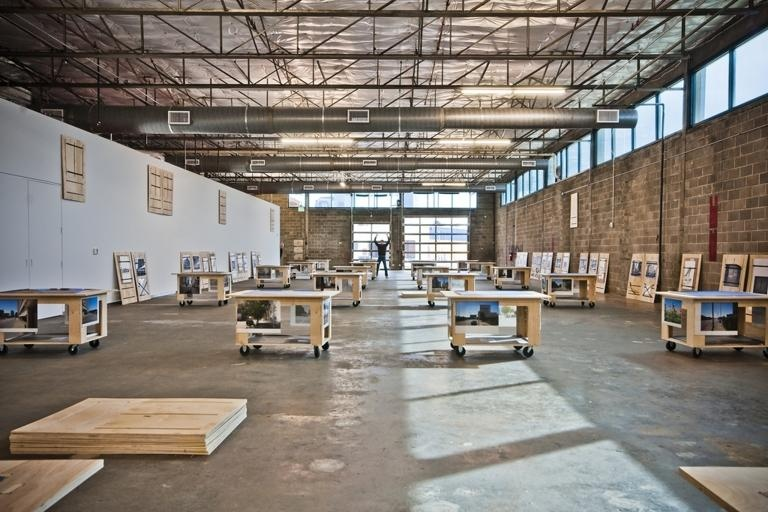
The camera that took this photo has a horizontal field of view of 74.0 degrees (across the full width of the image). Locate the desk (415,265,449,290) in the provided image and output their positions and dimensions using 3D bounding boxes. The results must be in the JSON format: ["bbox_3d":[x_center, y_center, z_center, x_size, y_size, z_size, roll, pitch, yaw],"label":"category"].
[{"bbox_3d":[1.663,0.705,19.731,1.367,0.589,0.967,0,-3,-5],"label":"desk"}]

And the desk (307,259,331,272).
[{"bbox_3d":[-3.538,0.433,28.129,1.342,0.687,1.231,0,-3,-1],"label":"desk"}]

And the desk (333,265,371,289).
[{"bbox_3d":[-1.221,0.756,20.607,1.339,0.689,1.244,0,-4,9],"label":"desk"}]

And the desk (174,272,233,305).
[{"bbox_3d":[-5.377,0.922,15.042,1.912,0.977,1.755,0,1,-2],"label":"desk"}]

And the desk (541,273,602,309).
[{"bbox_3d":[5.518,0.932,14.931,1.826,0.943,1.680,1,-2,-1],"label":"desk"}]

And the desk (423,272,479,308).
[{"bbox_3d":[1.817,0.825,14.751,1.470,0.764,1.359,0,-3,-2],"label":"desk"}]

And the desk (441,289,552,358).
[{"bbox_3d":[1.887,1.216,9.223,1.705,0.883,1.041,0,-4,2],"label":"desk"}]

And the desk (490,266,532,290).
[{"bbox_3d":[5.107,0.935,20.836,1.385,0.707,1.272,0,-3,-1],"label":"desk"}]

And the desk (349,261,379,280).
[{"bbox_3d":[-0.888,0.715,26.709,1.198,0.626,1.103,-1,-4,2],"label":"desk"}]

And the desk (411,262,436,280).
[{"bbox_3d":[1.808,0.661,24.434,1.104,0.562,1.014,0,-4,-3],"label":"desk"}]

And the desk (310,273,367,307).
[{"bbox_3d":[-1.364,1.043,15.151,1.304,0.666,1.198,1,0,3],"label":"desk"}]
